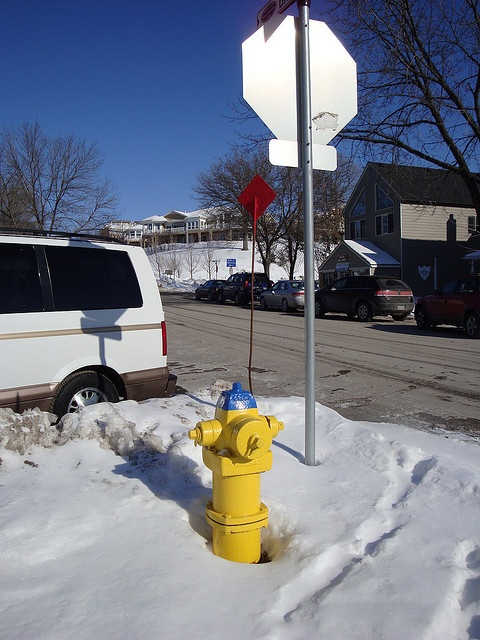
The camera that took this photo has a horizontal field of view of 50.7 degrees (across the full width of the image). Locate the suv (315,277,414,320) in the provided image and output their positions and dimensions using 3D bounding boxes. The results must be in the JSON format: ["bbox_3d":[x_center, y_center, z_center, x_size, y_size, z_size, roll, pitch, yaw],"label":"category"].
[{"bbox_3d":[4.344,-0.818,18.596,1.369,1.634,3.926,-2,7,-37],"label":"suv"}]

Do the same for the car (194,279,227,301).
[{"bbox_3d":[-2.212,-2.054,34.489,1.132,0.857,2.483,-2,7,-23],"label":"car"}]

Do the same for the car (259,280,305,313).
[{"bbox_3d":[2.068,-1.117,22.894,1.019,0.806,2.411,0,5,-16],"label":"car"}]

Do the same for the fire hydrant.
[{"bbox_3d":[0.005,0.748,2.402,0.507,0.825,0.387,-2,2,-28],"label":"fire hydrant"}]
